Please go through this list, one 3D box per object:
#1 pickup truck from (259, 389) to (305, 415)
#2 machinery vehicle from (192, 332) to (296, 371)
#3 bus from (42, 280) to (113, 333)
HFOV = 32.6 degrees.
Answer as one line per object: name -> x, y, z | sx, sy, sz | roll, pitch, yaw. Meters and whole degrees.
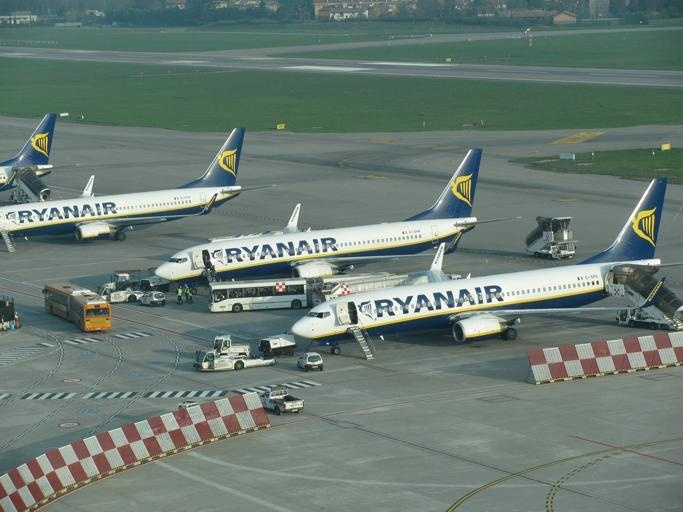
pickup truck -> -3.733, 9.112, 73.358 | 2.774, 0.764, 1.637 | 10, 13, 42
machinery vehicle -> -6.681, 6.629, 80.441 | 6.299, 2.191, 2.042 | -8, 14, -28
bus -> -20.479, 3.915, 90.158 | 2.501, 2.656, 8.363 | -13, 15, -32
